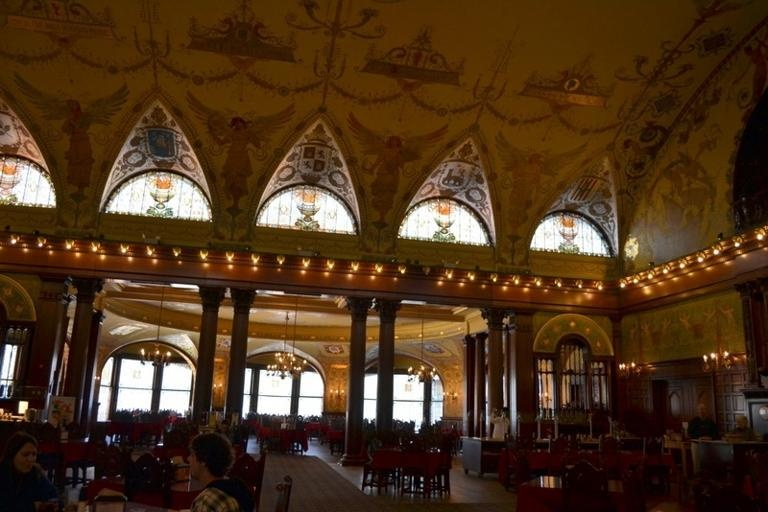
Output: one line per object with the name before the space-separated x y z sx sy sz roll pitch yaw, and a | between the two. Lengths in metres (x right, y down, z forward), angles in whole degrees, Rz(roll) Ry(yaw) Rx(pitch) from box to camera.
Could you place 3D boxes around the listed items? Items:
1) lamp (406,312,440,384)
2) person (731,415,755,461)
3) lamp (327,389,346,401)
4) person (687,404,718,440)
lamp | 1.745 4.359 29.280 1.162 2.853 1.153 6 -10 -18
person | 8.524 4.364 15.088 0.513 1.319 0.475 -5 -53 25
lamp | -2.539 7.500 34.072 0.646 0.412 0.643 10 -19 -26
person | 8.027 4.228 15.975 0.787 0.943 0.673 -6 1 9
